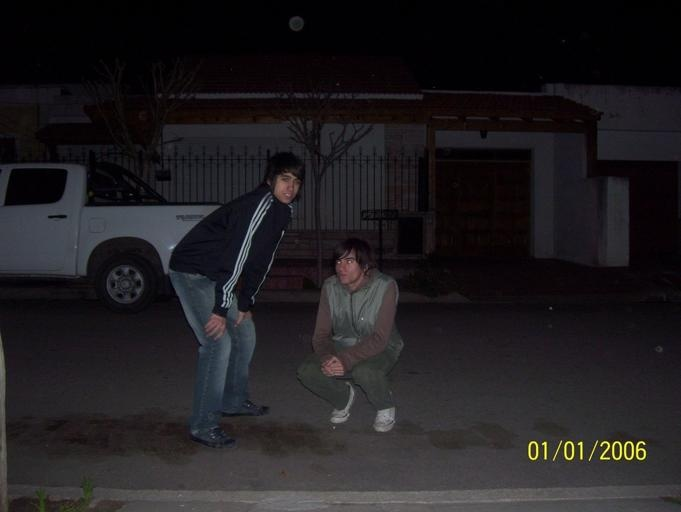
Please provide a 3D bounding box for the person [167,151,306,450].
[{"bbox_3d":[-0.905,0.328,4.965,1.103,2.416,0.852,0,5,-11],"label":"person"}]

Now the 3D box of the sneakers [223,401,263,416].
[{"bbox_3d":[-0.913,1.456,5.536,0.408,0.185,0.145,-1,0,-11],"label":"sneakers"}]

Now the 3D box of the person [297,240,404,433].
[{"bbox_3d":[0.133,0.717,5.283,0.887,1.710,0.903,-8,11,-36],"label":"person"}]

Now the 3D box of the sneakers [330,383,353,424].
[{"bbox_3d":[0.050,1.395,5.379,0.126,0.392,0.171,18,-8,-42],"label":"sneakers"}]

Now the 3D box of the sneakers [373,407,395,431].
[{"bbox_3d":[0.403,1.467,5.194,0.126,0.155,0.224,-4,-9,22],"label":"sneakers"}]
